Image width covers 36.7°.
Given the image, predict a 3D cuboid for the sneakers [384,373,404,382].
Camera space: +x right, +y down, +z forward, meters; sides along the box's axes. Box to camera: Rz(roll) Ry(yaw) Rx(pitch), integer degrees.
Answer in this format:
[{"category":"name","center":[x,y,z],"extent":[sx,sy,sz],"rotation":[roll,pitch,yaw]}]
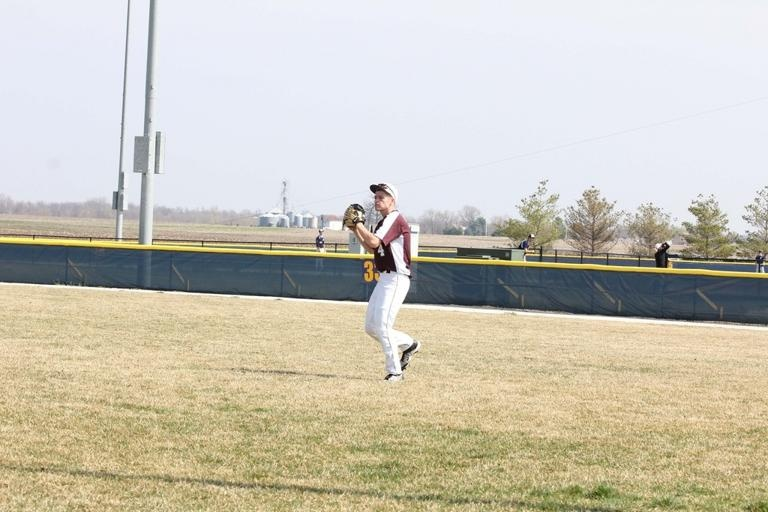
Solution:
[{"category":"sneakers","center":[0.155,1.873,18.073],"extent":[0.105,0.122,0.292],"rotation":[-1,-5,31]}]

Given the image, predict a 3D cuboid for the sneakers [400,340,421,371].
[{"category":"sneakers","center":[0.367,1.593,18.518],"extent":[0.285,0.595,0.201],"rotation":[9,39,-11]}]

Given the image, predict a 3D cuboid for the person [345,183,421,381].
[{"category":"person","center":[-0.052,0.403,18.006],"extent":[0.866,3.000,1.552],"rotation":[-1,-3,19]}]

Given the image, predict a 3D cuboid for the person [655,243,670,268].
[{"category":"person","center":[7.416,-0.051,30.810],"extent":[0.376,0.738,2.196],"rotation":[-1,-3,14]}]

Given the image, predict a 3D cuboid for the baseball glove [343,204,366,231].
[{"category":"baseball glove","center":[-0.484,-0.601,17.574],"extent":[0.336,0.368,0.405],"rotation":[0,-3,-1]}]

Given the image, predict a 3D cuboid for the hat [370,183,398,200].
[{"category":"hat","center":[-0.029,-1.000,17.835],"extent":[0.359,0.213,0.452],"rotation":[0,-3,-6]}]
